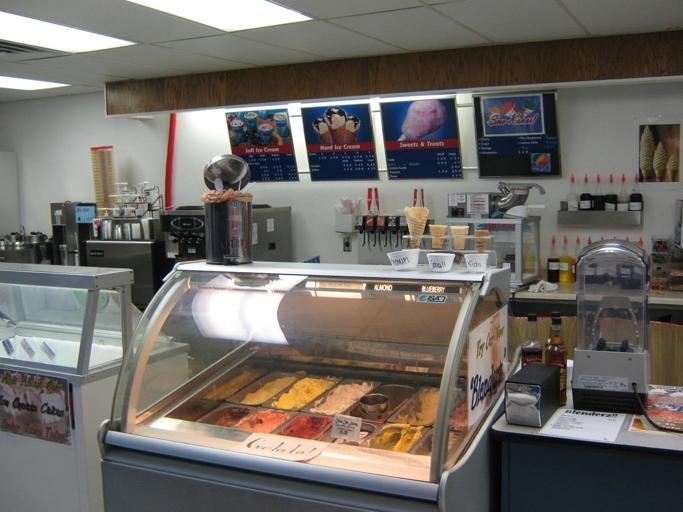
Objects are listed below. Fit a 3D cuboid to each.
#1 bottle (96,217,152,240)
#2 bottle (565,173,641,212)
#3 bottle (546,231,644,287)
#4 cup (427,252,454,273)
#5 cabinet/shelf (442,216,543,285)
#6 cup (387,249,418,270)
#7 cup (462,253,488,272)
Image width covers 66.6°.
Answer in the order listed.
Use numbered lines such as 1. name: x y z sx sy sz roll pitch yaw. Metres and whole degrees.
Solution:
1. bottle: -2.350 -0.292 5.673 0.669 0.249 0.153 0 9 24
2. bottle: 2.260 -0.542 4.562 0.626 0.343 0.206 0 9 23
3. bottle: 2.180 0.026 4.614 0.673 0.434 0.274 0 9 22
4. cup: 0.419 0.028 2.220 0.089 0.055 0.088 0 1 0
5. cabinet/shelf: 1.403 -0.083 4.717 0.723 0.621 0.413 1 18 27
6. cup: 0.279 0.009 2.303 0.100 0.058 0.099 -4 6 0
7. cup: 0.562 0.028 2.184 0.082 0.060 0.082 -1 0 0
